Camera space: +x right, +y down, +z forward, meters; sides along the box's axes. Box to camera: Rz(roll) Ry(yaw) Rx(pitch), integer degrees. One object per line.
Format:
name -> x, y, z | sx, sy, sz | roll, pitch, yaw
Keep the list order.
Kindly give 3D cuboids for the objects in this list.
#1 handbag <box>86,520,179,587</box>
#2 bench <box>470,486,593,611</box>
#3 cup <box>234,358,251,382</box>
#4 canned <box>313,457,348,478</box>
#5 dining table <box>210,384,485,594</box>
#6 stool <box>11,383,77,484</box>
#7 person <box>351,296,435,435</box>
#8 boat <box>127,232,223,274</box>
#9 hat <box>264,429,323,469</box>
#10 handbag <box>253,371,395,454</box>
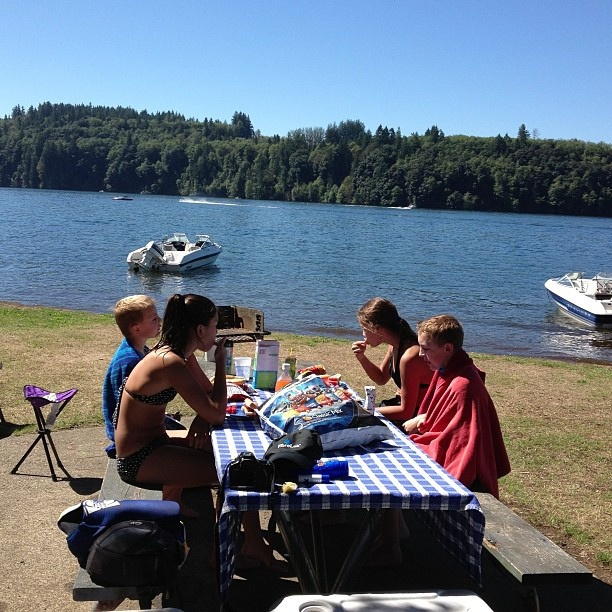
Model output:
handbag -> -0.712, 1.040, 2.629 | 0.336, 0.199, 0.250 | 12, -3, -12
bench -> 1.068, 1.201, 3.135 | 0.399, 0.174, 0.708 | 11, 4, -3
cup -> -0.458, 0.470, 4.605 | 0.163, 0.174, 0.138 | 0, 0, -4
canned -> 0.113, 0.744, 2.837 | 0.152, 0.068, 0.064 | 2, -7, -4
dining table -> 0.189, 0.954, 3.067 | 1.377, 0.824, 0.939 | 10, 3, -7
stool -> -2.227, 1.032, 5.207 | 0.422, 0.622, 0.372 | 14, -2, -42
person -> 0.663, 0.664, 4.703 | 0.701, 1.347, 0.548 | 1, 5, 15
boat -> -7.227, -2.845, 34.726 | 2.415, 1.567, 5.289 | 12, 19, 29
hat -> -0.062, 0.655, 2.914 | 0.279, 0.150, 0.426 | -4, 0, 4
handbag -> 0.060, 0.605, 3.497 | 0.559, 0.285, 0.920 | -9, 10, -14
